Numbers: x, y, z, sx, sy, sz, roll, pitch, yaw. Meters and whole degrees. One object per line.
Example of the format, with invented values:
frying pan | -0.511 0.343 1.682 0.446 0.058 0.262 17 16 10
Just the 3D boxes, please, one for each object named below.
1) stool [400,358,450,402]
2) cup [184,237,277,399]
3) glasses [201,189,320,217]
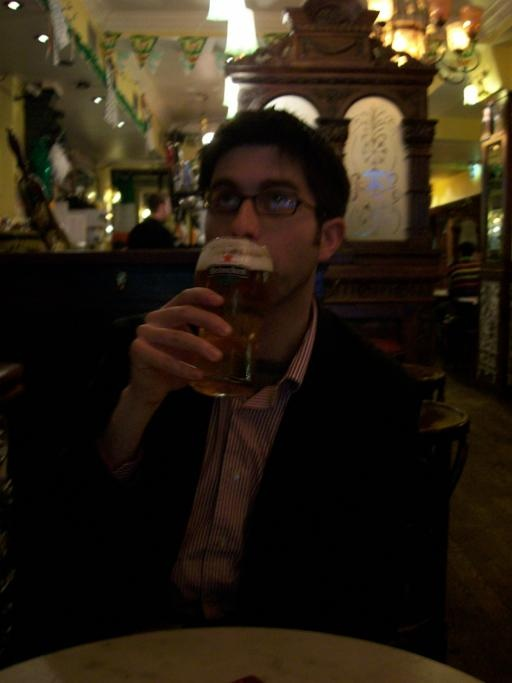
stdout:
stool | 0.568 0.131 1.931 0.139 0.165 0.148 10 16 43
cup | -0.043 -0.041 0.990 0.122 0.259 0.079 2 14 1
glasses | 0.008 -0.281 1.184 0.217 0.053 0.094 3 15 5
